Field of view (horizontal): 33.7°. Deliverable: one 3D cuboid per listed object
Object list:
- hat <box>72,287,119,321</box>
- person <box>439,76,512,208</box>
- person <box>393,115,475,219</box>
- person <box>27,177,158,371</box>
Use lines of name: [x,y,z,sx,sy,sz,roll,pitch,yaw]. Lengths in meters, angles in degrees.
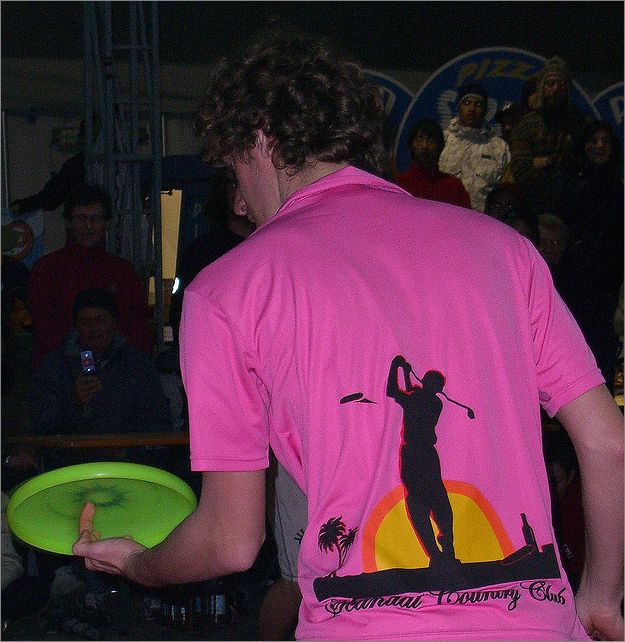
hat: [-1.166,-0.116,5.478,0.174,0.166,0.181,-7,4,-24]
person: [1.093,-1.138,7.245,0.533,1.289,0.335,8,43,9]
person: [0.799,-1.038,7.146,0.636,0.765,0.352,-2,-12,6]
person: [-1.236,-0.105,5.626,0.560,1.265,0.703,2,2,-18]
